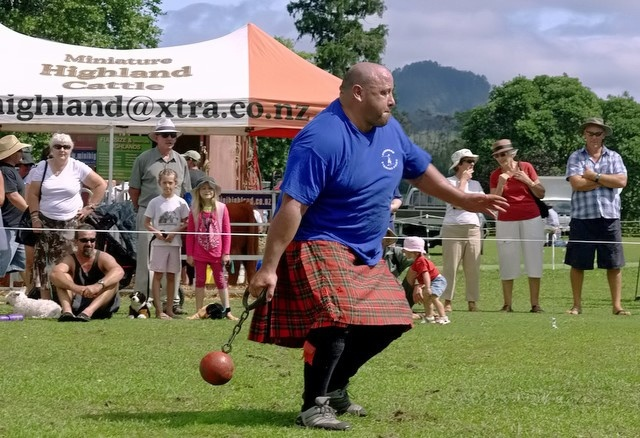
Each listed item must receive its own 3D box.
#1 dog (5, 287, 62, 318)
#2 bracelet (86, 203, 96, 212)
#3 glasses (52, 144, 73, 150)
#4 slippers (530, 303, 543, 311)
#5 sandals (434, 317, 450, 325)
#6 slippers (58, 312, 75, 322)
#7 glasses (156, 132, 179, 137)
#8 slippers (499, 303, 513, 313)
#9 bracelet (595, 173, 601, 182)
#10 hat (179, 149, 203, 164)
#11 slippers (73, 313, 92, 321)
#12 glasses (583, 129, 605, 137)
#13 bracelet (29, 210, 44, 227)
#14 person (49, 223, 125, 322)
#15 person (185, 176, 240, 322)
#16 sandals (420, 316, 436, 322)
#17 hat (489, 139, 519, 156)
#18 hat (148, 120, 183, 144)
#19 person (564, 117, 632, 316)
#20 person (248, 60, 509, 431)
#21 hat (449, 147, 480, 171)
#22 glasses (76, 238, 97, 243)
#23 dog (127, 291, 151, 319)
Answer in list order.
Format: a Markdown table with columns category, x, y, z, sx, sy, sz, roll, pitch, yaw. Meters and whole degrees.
| category | x | y | z | sx | sy | sz | roll | pitch | yaw |
| --- | --- | --- | --- | --- | --- | --- | --- | --- | --- |
| dog | -3.652 | 1.078 | 12.595 | 0.883 | 0.272 | 0.413 | 4 | 8 | 27 |
| bracelet | -2.965 | -0.146 | 12.899 | 0.125 | 0.072 | 0.113 | -17 | -12 | -27 |
| glasses | -3.253 | -0.914 | 12.603 | 0.210 | 0.066 | 0.104 | -2 | 7 | -19 |
| slippers | 2.935 | 1.219 | 13.791 | 0.137 | 0.085 | 0.237 | -1 | -5 | -2 |
| sandals | 1.505 | 1.273 | 12.523 | 0.078 | 0.068 | 0.170 | -1 | 2 | -32 |
| slippers | -3.123 | 1.195 | 12.250 | 0.231 | 0.097 | 0.157 | 4 | 8 | 27 |
| glasses | -1.992 | -1.129 | 13.316 | 0.220 | 0.079 | 0.402 | 6 | 8 | 39 |
| slippers | 2.524 | 1.228 | 13.787 | 0.108 | 0.096 | 0.259 | -2 | -7 | 12 |
| bracelet | 3.584 | -0.550 | 13.087 | 0.055 | 0.086 | 0.073 | 6 | -7 | -8 |
| hat | -2.166 | -1.056 | 16.472 | 0.452 | 0.196 | 0.309 | 10 | 5 | 28 |
| slippers | -2.912 | 1.198 | 12.262 | 0.185 | 0.092 | 0.211 | -1 | 7 | -16 |
| glasses | 3.557 | -1.126 | 13.134 | 0.240 | 0.067 | 0.159 | 2 | 7 | 12 |
| bracelet | -3.589 | 0.001 | 12.671 | 0.140 | 0.203 | 0.138 | -1 | 7 | -16 |
| person | -2.921 | 0.659 | 12.495 | 0.878 | 1.195 | 0.649 | -1 | 7 | -12 |
| person | -1.420 | 0.363 | 12.853 | 0.619 | 1.776 | 0.688 | 0 | 7 | -10 |
| sandals | 1.337 | 1.273 | 12.679 | 0.201 | 0.072 | 0.070 | -3 | 0 | 26 |
| hat | 2.444 | -0.974 | 13.576 | 0.292 | 0.130 | 0.279 | -3 | 4 | 0 |
| hat | -2.081 | -1.222 | 13.393 | 0.370 | 0.161 | 0.421 | 1 | -6 | -12 |
| person | 3.712 | -0.013 | 13.536 | 0.880 | 2.709 | 1.150 | 3 | 8 | 14 |
| person | 0.214 | 0.410 | 8.614 | 1.677 | 2.664 | 0.747 | 0 | 8 | -10 |
| hat | 1.932 | -0.883 | 13.511 | 0.417 | 0.184 | 0.336 | -16 | -14 | -14 |
| glasses | -2.915 | 0.265 | 12.503 | 0.199 | 0.071 | 0.115 | -2 | 7 | -22 |
| dog | -2.327 | 1.139 | 12.936 | 0.305 | 0.318 | 0.490 | 1 | -14 | 8 |
